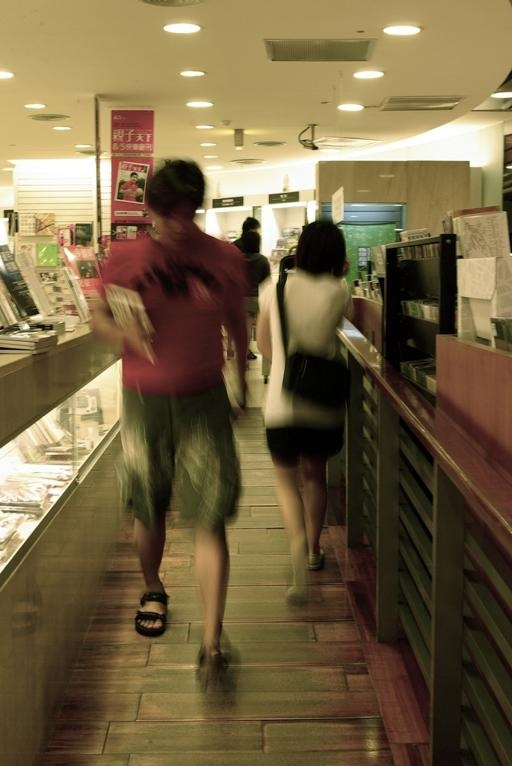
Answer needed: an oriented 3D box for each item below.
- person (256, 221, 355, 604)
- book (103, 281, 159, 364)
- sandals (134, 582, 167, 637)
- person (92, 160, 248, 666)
[{"bbox_3d":[0.206,0.140,2.231,0.365,1.563,0.392,-1,-1,-15],"label":"person"},{"bbox_3d":[-0.334,-0.177,1.461,0.133,0.206,0.043,0,27,48],"label":"book"},{"bbox_3d":[-0.409,0.892,2.102,0.072,0.080,0.205,0,-3,1],"label":"sandals"},{"bbox_3d":[-0.240,0.134,1.635,0.432,1.503,0.458,-1,-1,-1],"label":"person"}]
